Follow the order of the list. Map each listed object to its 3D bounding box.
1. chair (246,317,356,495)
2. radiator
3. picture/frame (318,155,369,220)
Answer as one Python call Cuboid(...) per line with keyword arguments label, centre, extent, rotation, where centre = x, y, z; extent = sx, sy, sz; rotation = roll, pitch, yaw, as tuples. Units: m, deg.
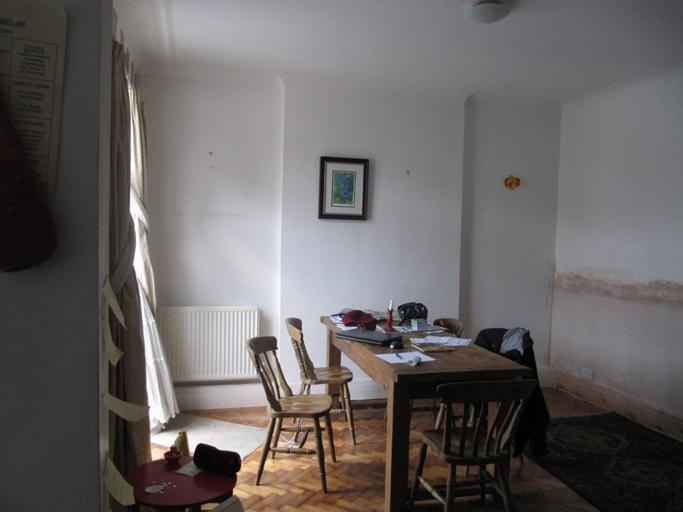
Cuboid(label="chair", centre=(-0.315, 0.811, 3.427), extent=(0.740, 1.335, 0.821), rotation=(0, 4, 9))
Cuboid(label="radiator", centre=(-1.155, 0.697, 4.161), extent=(0.061, 0.570, 0.716), rotation=(-12, -13, 31))
Cuboid(label="picture/frame", centre=(-0.003, -0.576, 4.343), extent=(0.483, 0.629, 0.043), rotation=(0, 2, -11))
